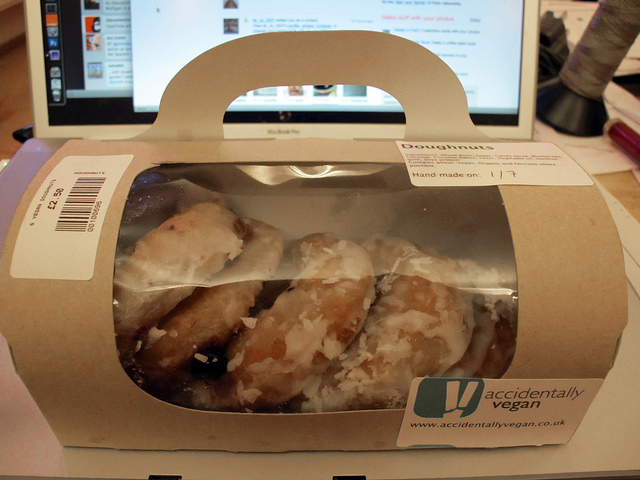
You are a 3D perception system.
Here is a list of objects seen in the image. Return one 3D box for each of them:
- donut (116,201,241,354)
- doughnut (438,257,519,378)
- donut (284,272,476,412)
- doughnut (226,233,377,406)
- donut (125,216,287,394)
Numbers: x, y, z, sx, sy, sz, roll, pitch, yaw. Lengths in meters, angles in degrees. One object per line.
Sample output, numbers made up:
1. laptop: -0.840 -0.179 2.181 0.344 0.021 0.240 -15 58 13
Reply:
1. donut: -0.148 0.030 0.573 0.154 0.073 0.071 -24 50 -20
2. doughnut: 0.179 0.079 0.599 0.088 0.100 0.028 0 6 1
3. donut: 0.063 0.141 0.593 0.168 0.128 0.043 -7 53 14
4. doughnut: -0.049 0.116 0.639 0.134 0.058 0.236 5 1 -15
5. donut: -0.148 0.058 0.611 0.107 0.052 0.191 25 20 8
